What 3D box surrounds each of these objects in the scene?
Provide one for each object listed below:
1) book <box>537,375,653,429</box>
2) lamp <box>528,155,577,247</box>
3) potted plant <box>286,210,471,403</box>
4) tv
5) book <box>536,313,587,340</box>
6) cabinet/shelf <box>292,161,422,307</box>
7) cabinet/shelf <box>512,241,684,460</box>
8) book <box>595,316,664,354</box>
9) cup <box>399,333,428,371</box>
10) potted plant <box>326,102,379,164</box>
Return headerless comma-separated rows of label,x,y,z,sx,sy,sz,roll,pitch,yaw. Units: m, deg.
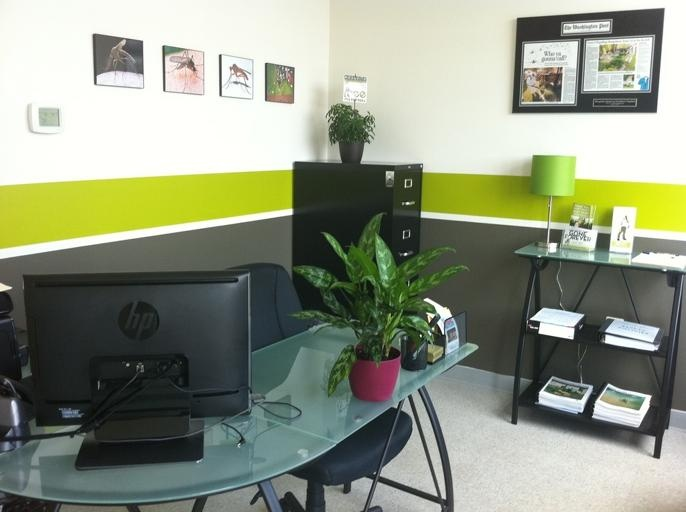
book,1.698,0.971,3.513,0.453,0.116,0.346,7,14,33
lamp,1.464,-0.388,3.679,0.288,0.633,0.327,7,15,23
potted plant,0.135,0.284,2.162,0.695,0.612,0.742,8,-4,26
tv,-0.699,0.380,1.760,0.547,0.494,0.242,0,14,-7
book,1.499,0.464,3.641,0.273,0.104,0.333,11,17,33
cabinet/shelf,0.216,-0.267,4.742,1.155,1.669,0.905,4,5,25
cabinet/shelf,1.785,0.649,3.573,1.076,1.412,0.645,7,11,32
book,1.878,0.519,3.417,0.339,0.087,0.311,11,17,33
cup,0.317,0.413,2.317,0.149,0.184,0.157,-1,8,0
potted plant,0.033,-0.938,4.262,0.465,0.582,0.495,1,0,-11
